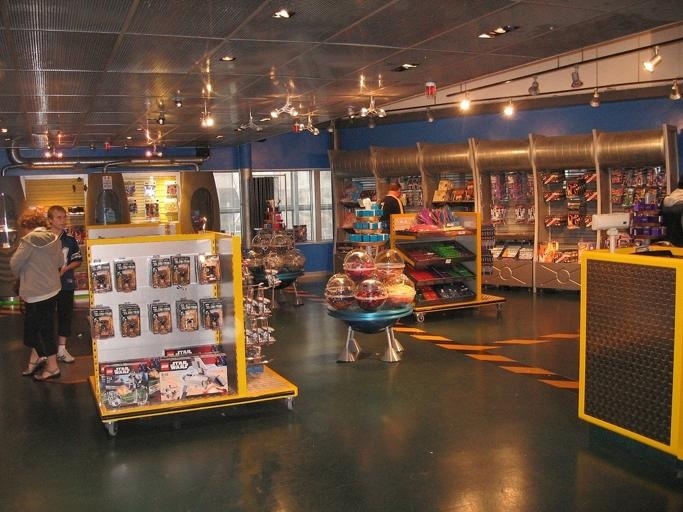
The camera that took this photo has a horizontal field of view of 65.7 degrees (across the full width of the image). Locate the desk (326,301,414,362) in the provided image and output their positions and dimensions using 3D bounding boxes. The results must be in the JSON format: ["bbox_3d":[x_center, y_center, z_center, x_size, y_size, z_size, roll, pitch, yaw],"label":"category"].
[{"bbox_3d":[0.390,0.974,7.008,1.050,0.855,1.254,-3,8,0],"label":"desk"}]

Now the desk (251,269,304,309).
[{"bbox_3d":[-1.193,0.556,9.816,1.043,0.473,0.981,-3,3,-35],"label":"desk"}]

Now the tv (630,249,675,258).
[{"bbox_3d":[3.112,-0.041,5.261,0.298,0.051,0.190,0,1,14],"label":"tv"}]

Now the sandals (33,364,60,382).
[{"bbox_3d":[-3.812,1.528,6.825,0.318,0.085,0.143,2,2,4],"label":"sandals"}]

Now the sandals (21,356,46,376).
[{"bbox_3d":[-4.078,1.467,7.060,0.177,0.089,0.375,-2,2,5],"label":"sandals"}]

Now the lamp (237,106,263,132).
[{"bbox_3d":[-1.875,-2.810,10.696,0.509,0.374,0.419,3,6,9],"label":"lamp"}]
